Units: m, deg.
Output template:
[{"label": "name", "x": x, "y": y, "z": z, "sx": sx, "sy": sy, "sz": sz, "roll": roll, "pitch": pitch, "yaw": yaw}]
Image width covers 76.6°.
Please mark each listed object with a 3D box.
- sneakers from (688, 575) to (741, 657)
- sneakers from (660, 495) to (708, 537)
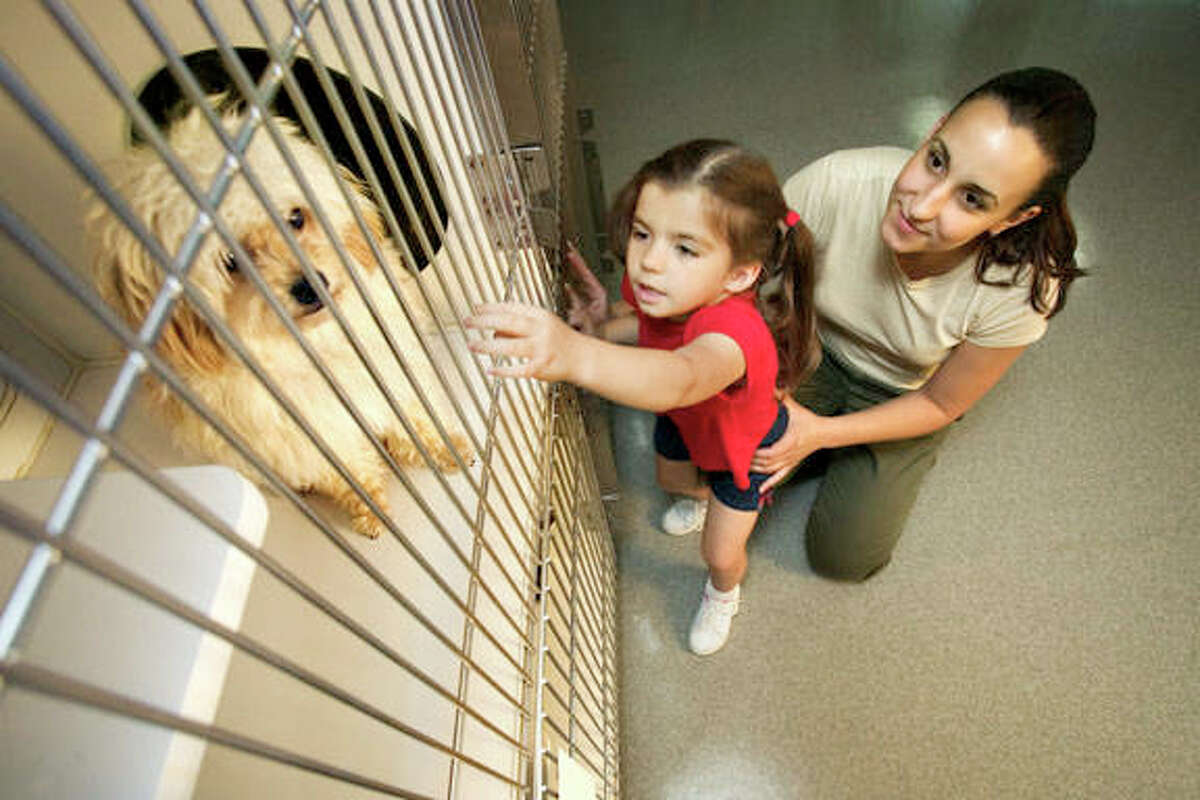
[{"label": "sneakers", "x": 0.258, "y": 0.454, "z": 1.664, "sx": 0.082, "sy": 0.082, "sz": 0.188, "roll": 14, "pitch": 73, "yaw": 22}, {"label": "sneakers", "x": 0.198, "y": 0.276, "z": 1.795, "sx": 0.121, "sy": 0.051, "sz": 0.061, "roll": -30, "pitch": 88, "yaw": 7}]
